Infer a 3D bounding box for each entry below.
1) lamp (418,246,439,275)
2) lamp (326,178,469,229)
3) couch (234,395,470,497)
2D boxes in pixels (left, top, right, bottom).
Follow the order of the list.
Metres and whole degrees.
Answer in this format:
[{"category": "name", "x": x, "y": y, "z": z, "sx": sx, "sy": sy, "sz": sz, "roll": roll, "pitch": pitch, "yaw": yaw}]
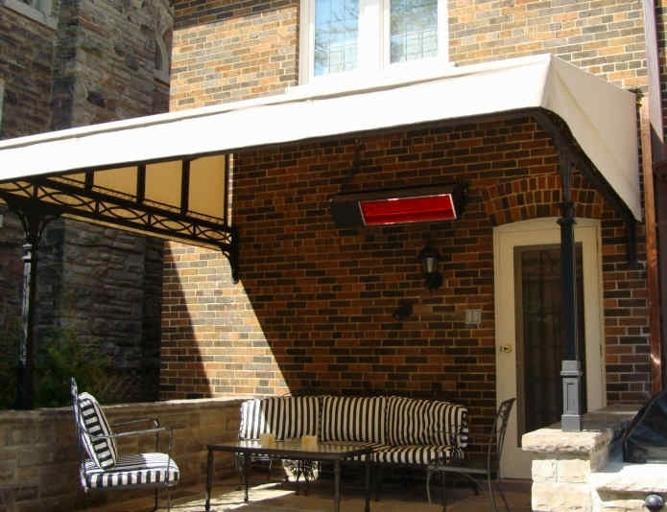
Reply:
[{"category": "lamp", "x": 1.257, "y": 0.057, "z": 9.308, "sx": 0.254, "sy": 0.377, "sz": 0.118, "roll": -7, "pitch": -8, "yaw": 9}, {"category": "lamp", "x": 0.803, "y": -0.671, "z": 9.477, "sx": 1.649, "sy": 0.474, "sz": 0.385, "roll": -4, "pitch": 17, "yaw": 17}, {"category": "couch", "x": 0.194, "y": 2.349, "z": 8.890, "sx": 2.956, "sy": 1.057, "sz": 0.899, "roll": -2, "pitch": -2, "yaw": 20}]
